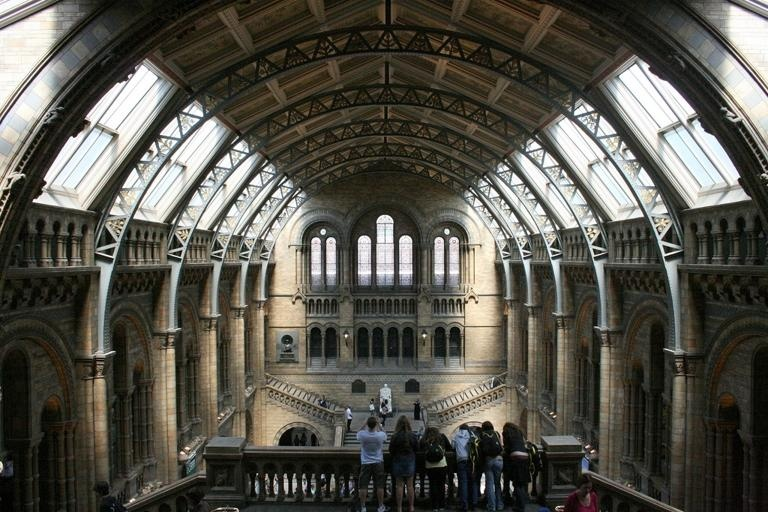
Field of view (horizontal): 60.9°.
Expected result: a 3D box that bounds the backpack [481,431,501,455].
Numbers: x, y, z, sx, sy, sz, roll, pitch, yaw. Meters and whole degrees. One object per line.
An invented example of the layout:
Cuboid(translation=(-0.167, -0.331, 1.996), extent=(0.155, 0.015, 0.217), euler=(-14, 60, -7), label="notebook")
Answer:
Cuboid(translation=(2.761, 4.849, 16.927), extent=(0.535, 0.609, 0.330), euler=(3, -37, -6), label="backpack")

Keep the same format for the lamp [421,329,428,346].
Cuboid(translation=(3.097, 6.155, 49.565), extent=(0.527, 1.116, 0.287), euler=(-2, -12, 4), label="lamp")

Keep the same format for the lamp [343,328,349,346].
Cuboid(translation=(-2.866, 6.164, 49.386), extent=(0.514, 1.284, 0.239), euler=(0, -12, -4), label="lamp")

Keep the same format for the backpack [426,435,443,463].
Cuboid(translation=(1.285, 4.929, 16.687), extent=(0.635, 0.753, 0.417), euler=(0, -29, 4), label="backpack")
